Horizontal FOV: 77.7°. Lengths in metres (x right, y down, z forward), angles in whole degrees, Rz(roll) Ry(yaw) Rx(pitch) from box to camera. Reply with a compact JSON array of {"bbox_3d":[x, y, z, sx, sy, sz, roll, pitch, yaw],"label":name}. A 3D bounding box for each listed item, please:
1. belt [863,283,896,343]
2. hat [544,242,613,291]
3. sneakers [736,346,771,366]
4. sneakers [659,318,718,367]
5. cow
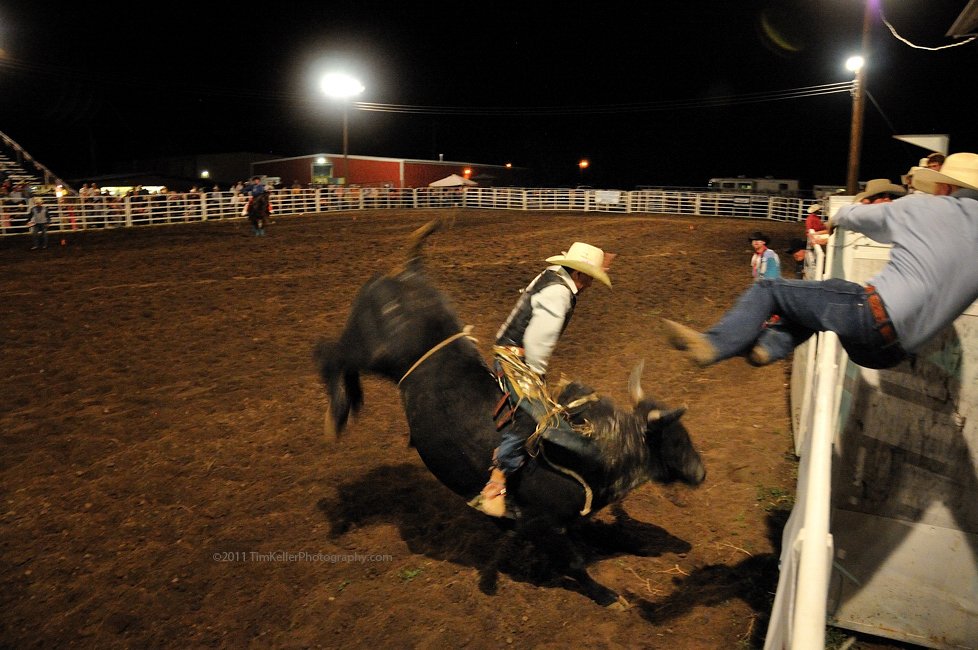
[{"bbox_3d":[2.412,-0.078,3.763,0.113,0.329,0.219,-5,14,-8],"label":"belt"},{"bbox_3d":[0.857,-0.535,5.126,0.556,0.167,0.454,20,4,-6],"label":"hat"},{"bbox_3d":[1.790,0.220,4.092,0.204,0.073,0.315,-8,3,5],"label":"sneakers"},{"bbox_3d":[1.355,0.100,4.019,0.399,0.206,0.184,35,21,32],"label":"sneakers"},{"bbox_3d":[0.058,0.668,4.932,2.898,2.115,0.949,4,16,25],"label":"cow"}]
